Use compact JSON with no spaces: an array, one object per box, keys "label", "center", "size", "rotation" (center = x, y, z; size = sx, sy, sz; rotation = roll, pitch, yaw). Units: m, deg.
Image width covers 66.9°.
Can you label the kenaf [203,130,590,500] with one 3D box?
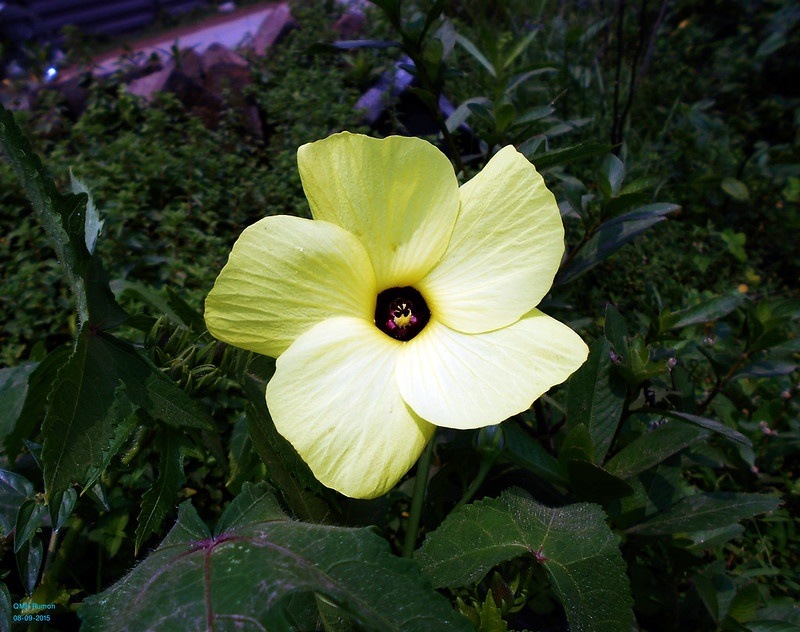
[{"label":"kenaf","center":[0.002,-0.010,1.534],"size":[0.886,0.359,0.977],"rotation":[0,57,5]}]
